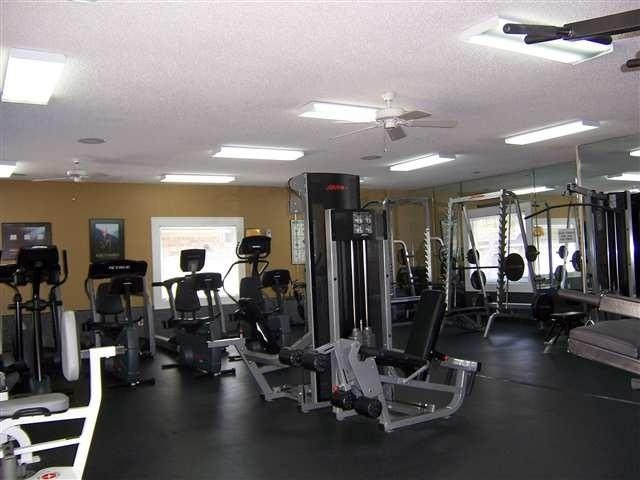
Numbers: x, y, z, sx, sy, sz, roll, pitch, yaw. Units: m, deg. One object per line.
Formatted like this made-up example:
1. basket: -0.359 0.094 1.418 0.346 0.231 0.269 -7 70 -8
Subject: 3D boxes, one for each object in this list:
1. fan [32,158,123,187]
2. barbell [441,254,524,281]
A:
1. fan: -4.038 -1.082 8.236 1.280 0.246 1.847 -2 1 -27
2. barbell: 3.173 0.456 9.496 1.526 0.551 0.648 -1 2 -30
